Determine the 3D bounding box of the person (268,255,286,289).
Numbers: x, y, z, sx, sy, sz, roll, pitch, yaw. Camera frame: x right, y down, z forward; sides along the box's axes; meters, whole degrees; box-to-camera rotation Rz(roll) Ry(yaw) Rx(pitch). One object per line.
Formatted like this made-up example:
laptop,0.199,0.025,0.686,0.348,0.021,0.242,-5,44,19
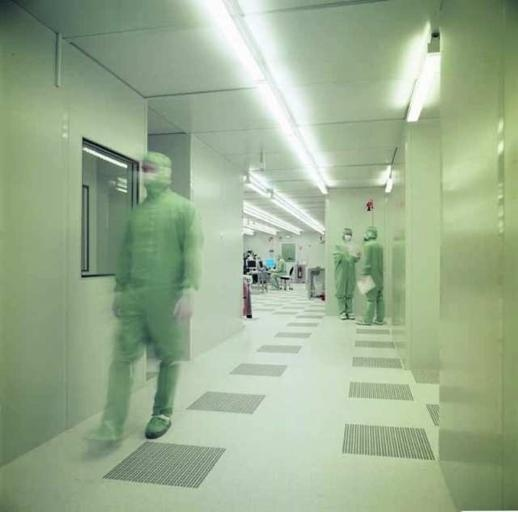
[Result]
person,0.635,0.572,17.561,0.444,1.114,1.344,1,2,1

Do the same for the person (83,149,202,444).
person,-0.491,0.214,2.410,0.250,1.327,0.479,2,2,38

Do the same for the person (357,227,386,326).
person,1.620,0.306,7.629,0.354,1.401,0.612,1,2,13

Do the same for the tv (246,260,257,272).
tv,-0.205,0.304,16.140,0.114,0.330,0.473,2,2,30

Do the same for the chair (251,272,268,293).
chair,0.057,0.882,17.863,0.459,0.717,0.634,-2,-1,38

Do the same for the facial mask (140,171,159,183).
facial mask,-0.466,-0.333,2.283,0.045,0.052,0.046,3,1,-35
